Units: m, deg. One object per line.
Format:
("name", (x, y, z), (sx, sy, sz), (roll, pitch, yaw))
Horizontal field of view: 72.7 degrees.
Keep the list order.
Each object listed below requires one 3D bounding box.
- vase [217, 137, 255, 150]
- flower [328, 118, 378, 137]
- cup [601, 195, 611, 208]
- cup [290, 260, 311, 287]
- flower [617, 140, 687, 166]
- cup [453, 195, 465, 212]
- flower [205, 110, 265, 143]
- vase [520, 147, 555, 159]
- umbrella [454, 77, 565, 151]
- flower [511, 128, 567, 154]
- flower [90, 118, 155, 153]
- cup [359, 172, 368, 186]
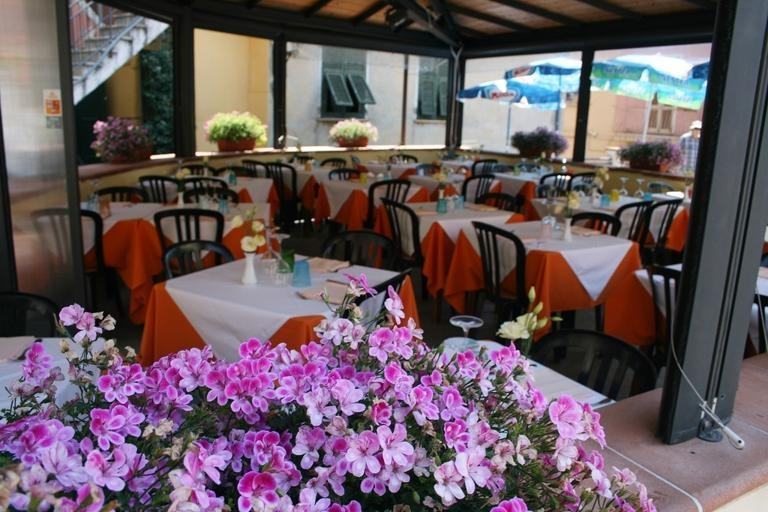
("vase", (-2.392, -1.787, 8.470), (0.436, 0.150, 0.277), (-7, 17, -29))
("flower", (-0.622, -2.407, 10.013), (0.566, 0.306, 0.547), (10, 17, 31))
("cup", (2.319, -0.558, 5.481), (0.092, 0.145, 0.151), (0, 8, 4))
("cup", (-0.443, 0.106, 2.897), (0.116, 0.140, 0.128), (2, 15, -1))
("flower", (4.095, -1.544, 7.937), (0.509, 0.274, 0.531), (4, 4, 17))
("cup", (0.745, -0.503, 5.065), (0.139, 0.166, 0.140), (-1, 13, 0))
("flower", (-2.401, -2.037, 8.438), (0.647, 0.324, 0.604), (-6, 14, -41))
("vase", (2.804, -1.858, 9.468), (0.465, 0.166, 0.483), (1, 8, 15))
("umbrella", (2.586, -2.956, 10.333), (1.624, 1.051, 1.631), (-14, 28, -20))
("flower", (2.791, -1.979, 9.636), (0.600, 0.402, 0.670), (0, 8, -9))
("flower", (-3.357, -1.490, 6.743), (0.545, 0.358, 0.601), (0, 7, -8))
("cup", (-0.260, -0.983, 6.704), (0.162, 0.180, 0.166), (0, 19, 0))
